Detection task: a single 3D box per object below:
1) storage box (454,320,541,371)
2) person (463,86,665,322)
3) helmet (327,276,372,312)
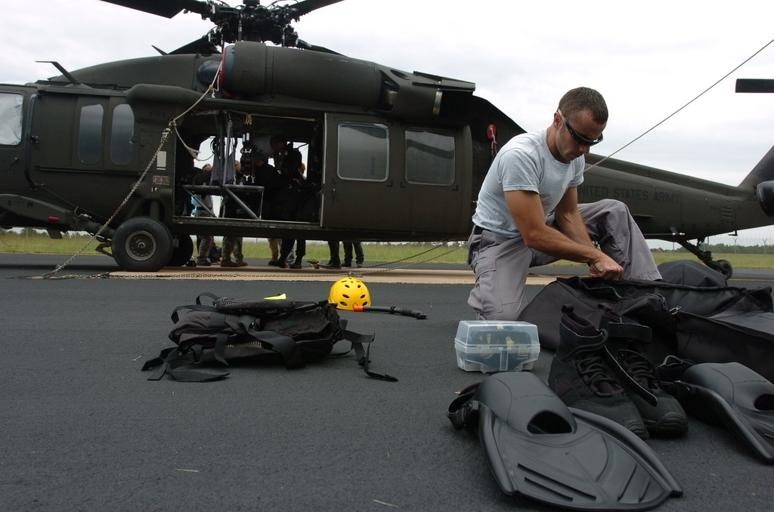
[{"bbox_3d":[0.634,0.525,3.449,0.408,0.219,0.308,0,-3,-6],"label":"storage box"},{"bbox_3d":[1.178,-0.340,4.074,1.183,1.526,1.036,1,9,0],"label":"person"},{"bbox_3d":[-0.343,0.360,5.634,0.281,0.194,0.375,0,2,-16],"label":"helmet"}]
